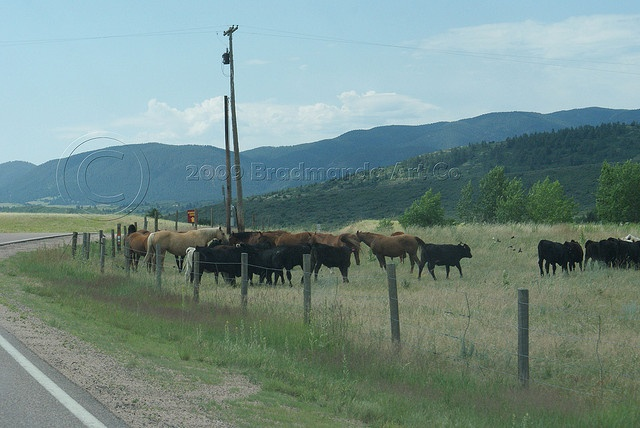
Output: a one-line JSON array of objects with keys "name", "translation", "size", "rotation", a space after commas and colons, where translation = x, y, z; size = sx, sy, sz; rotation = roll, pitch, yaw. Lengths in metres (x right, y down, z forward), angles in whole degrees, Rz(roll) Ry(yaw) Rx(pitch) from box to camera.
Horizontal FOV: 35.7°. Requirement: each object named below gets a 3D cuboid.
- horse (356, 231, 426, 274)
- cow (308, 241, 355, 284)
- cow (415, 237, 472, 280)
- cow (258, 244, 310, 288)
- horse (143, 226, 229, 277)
[{"name": "horse", "translation": [4.706, 2.673, 79.499], "size": [7.435, 4.996, 2.051], "rotation": [1, -2, 18]}, {"name": "cow", "translation": [0.748, 3.472, 74.831], "size": [2.833, 2.527, 0.790], "rotation": [0, -1, -1]}, {"name": "cow", "translation": [9.468, 3.475, 75.758], "size": [4.579, 3.073, 1.178], "rotation": [2, -1, -18]}, {"name": "cow", "translation": [-2.765, 3.756, 73.868], "size": [3.390, 3.067, 2.367], "rotation": [0, -1, -4]}, {"name": "horse", "translation": [-10.502, 2.774, 77.803], "size": [6.369, 3.773, 1.621], "rotation": [0, 8, -11]}]
